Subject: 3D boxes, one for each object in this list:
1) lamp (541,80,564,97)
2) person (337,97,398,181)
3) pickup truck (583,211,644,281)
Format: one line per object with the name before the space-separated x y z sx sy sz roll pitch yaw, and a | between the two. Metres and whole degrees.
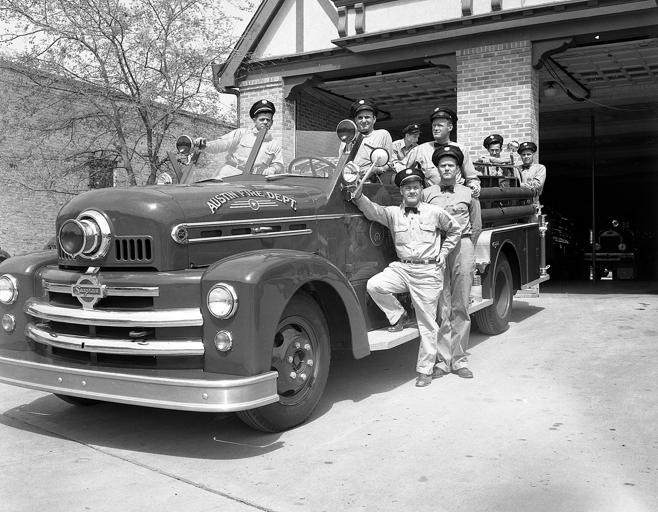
lamp | 6.274 -4.674 15.732 0.525 0.556 0.529 -2 -9 30
person | 0.354 -1.319 6.452 0.650 0.914 0.612 4 10 25
pickup truck | 8.579 -0.112 17.009 1.357 1.441 3.183 -3 -7 24
